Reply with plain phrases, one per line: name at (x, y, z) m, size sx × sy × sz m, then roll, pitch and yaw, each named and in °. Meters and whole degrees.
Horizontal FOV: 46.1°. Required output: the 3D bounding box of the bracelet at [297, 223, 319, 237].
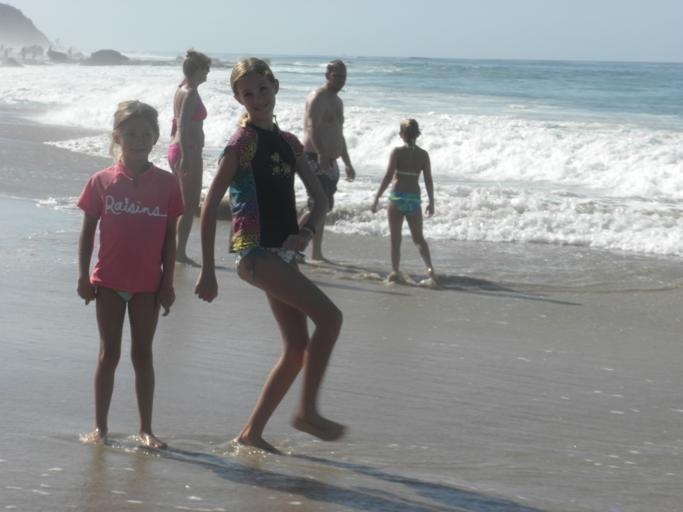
bracelet at (-0.186, -0.147, 4.488) m, size 0.084 × 0.052 × 0.080 m, roll 2°, pitch 4°, yaw 13°

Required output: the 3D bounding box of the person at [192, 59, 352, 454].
person at (-0.343, 0.028, 4.504) m, size 0.974 × 2.196 × 0.908 m, roll 7°, pitch 15°, yaw 12°

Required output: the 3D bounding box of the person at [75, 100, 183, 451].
person at (-1.178, 0.099, 4.509) m, size 0.567 × 1.873 × 0.688 m, roll -1°, pitch 15°, yaw -18°

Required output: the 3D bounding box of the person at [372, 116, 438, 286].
person at (0.709, -0.611, 8.626) m, size 0.744 × 1.681 × 1.090 m, roll 5°, pitch 14°, yaw 5°
